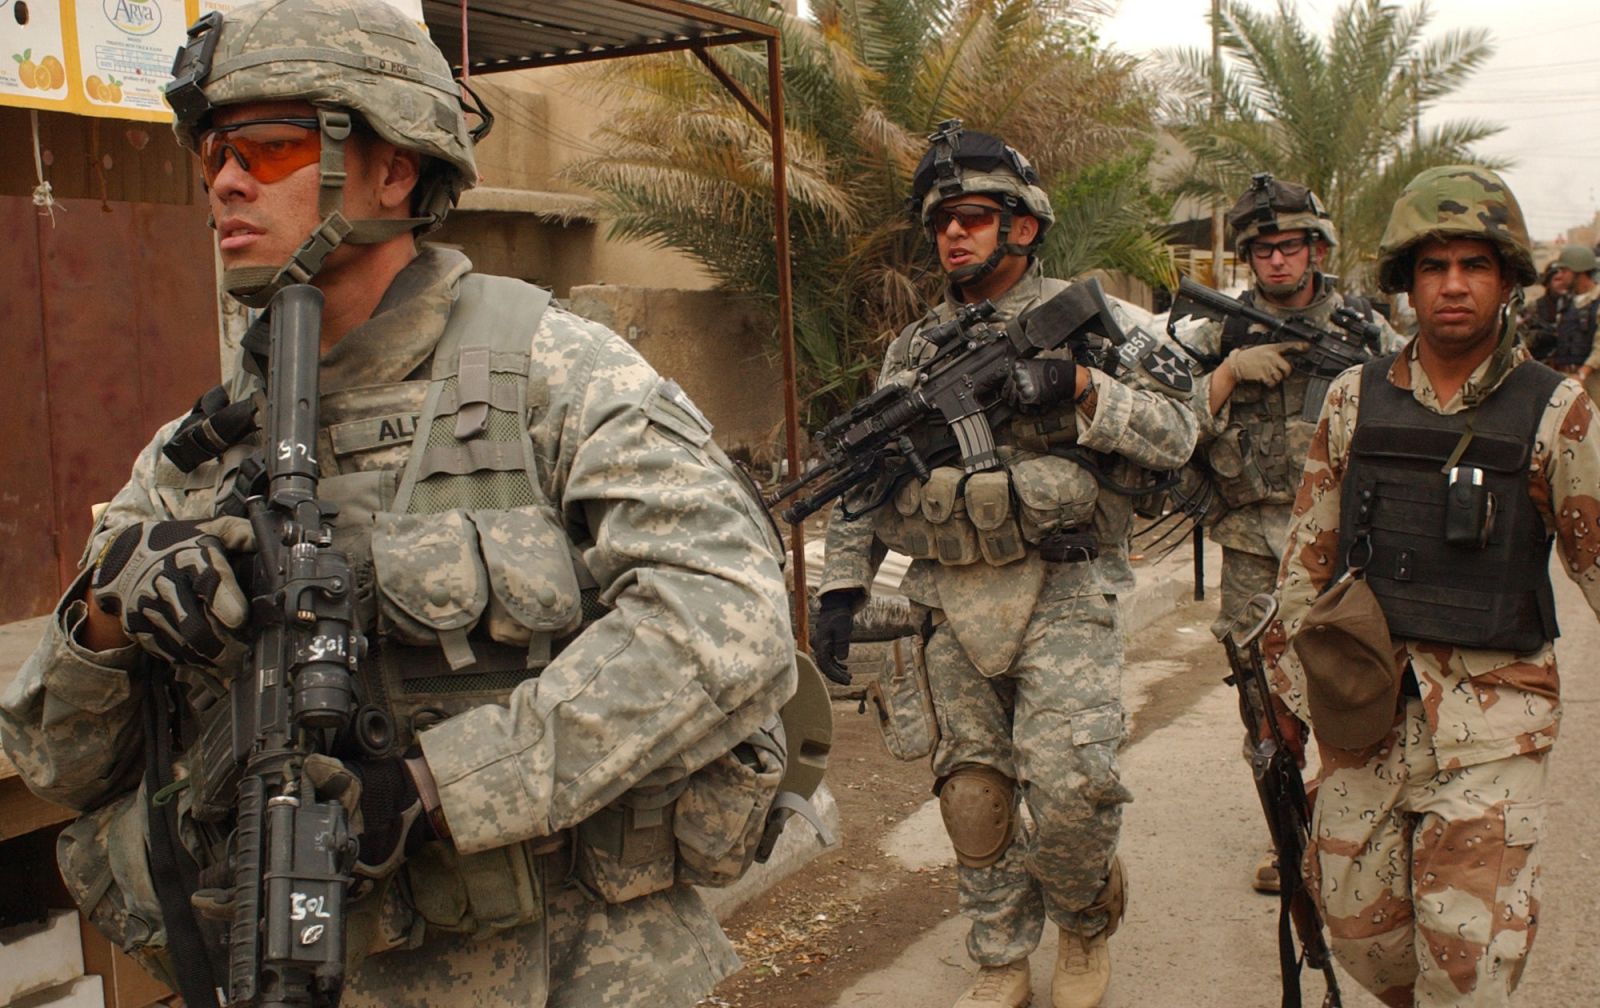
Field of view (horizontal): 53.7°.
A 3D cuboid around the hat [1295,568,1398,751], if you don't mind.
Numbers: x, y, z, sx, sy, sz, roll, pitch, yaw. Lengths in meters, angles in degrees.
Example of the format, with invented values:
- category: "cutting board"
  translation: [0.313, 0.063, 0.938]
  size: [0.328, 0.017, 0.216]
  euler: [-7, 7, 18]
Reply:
- category: "hat"
  translation: [1.589, 0.466, 4.623]
  size: [0.245, 0.491, 0.227]
  euler: [-3, 10, -23]

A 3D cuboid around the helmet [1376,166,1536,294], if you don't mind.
- category: "helmet"
  translation: [2.027, -0.874, 4.895]
  size: [0.484, 0.402, 0.454]
  euler: [-6, 4, -44]

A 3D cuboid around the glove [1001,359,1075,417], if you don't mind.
- category: "glove"
  translation: [0.807, -0.407, 5.364]
  size: [0.232, 0.189, 0.149]
  euler: [1, 9, 0]

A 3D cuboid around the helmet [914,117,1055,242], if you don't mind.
- category: "helmet"
  translation: [0.662, -1.195, 5.658]
  size: [0.412, 0.450, 0.512]
  euler: [8, 23, 37]

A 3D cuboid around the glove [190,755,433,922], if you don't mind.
- category: "glove"
  translation: [-0.926, 0.616, 3.161]
  size: [0.324, 0.460, 0.177]
  euler: [3, 0, 25]

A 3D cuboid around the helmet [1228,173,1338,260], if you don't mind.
- category: "helmet"
  translation: [2.026, -1.235, 6.835]
  size: [0.428, 0.378, 0.480]
  euler: [-6, 7, 28]
